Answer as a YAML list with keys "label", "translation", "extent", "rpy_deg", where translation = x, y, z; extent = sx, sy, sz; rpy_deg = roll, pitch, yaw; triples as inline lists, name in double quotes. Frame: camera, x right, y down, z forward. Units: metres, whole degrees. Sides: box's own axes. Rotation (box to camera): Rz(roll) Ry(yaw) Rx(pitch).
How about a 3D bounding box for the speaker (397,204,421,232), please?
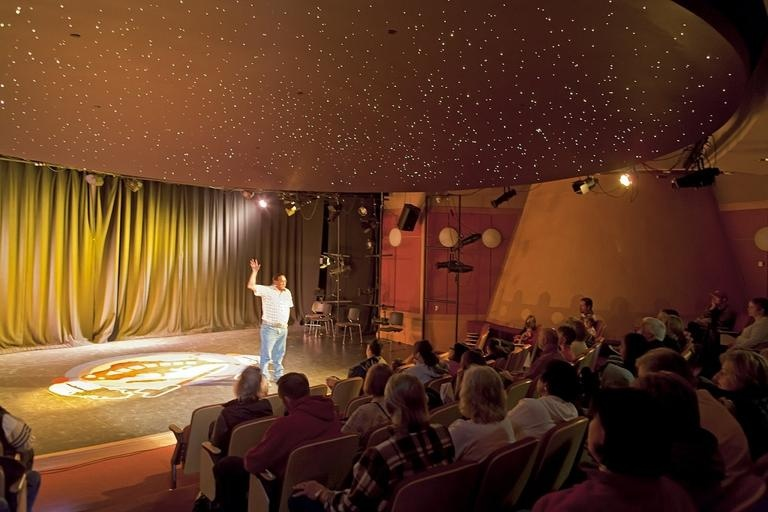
- label: "speaker"
  translation: [0.592, -0.857, 10.699]
  extent: [0.345, 0.648, 0.354]
  rpy_deg: [20, 18, -33]
